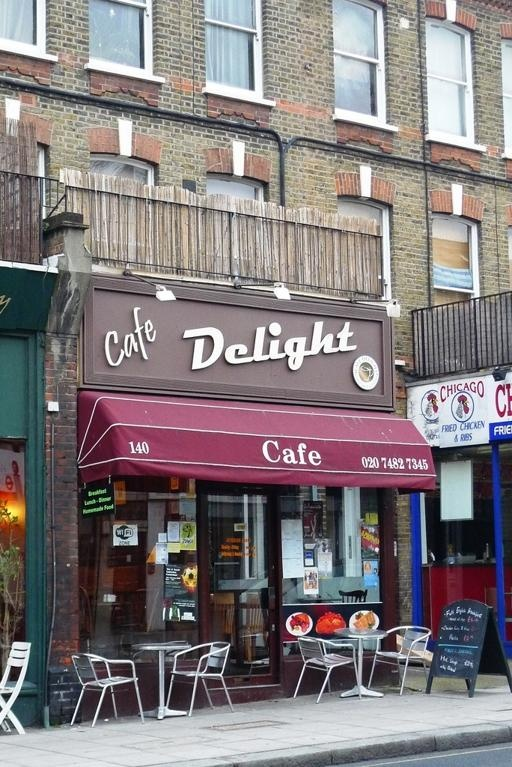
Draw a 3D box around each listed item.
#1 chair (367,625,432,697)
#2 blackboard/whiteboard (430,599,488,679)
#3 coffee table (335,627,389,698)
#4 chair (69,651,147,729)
[{"bbox_3d":[1.710,3.125,14.758,0.729,1.173,0.824,1,-3,-16],"label":"chair"},{"bbox_3d":[2.152,2.758,13.536,0.417,0.798,0.773,2,-7,-30],"label":"blackboard/whiteboard"},{"bbox_3d":[1.145,3.128,13.978,0.502,0.877,0.578,2,-4,-18],"label":"coffee table"},{"bbox_3d":[-1.421,2.867,12.216,0.650,1.117,0.650,0,-4,-31],"label":"chair"}]
